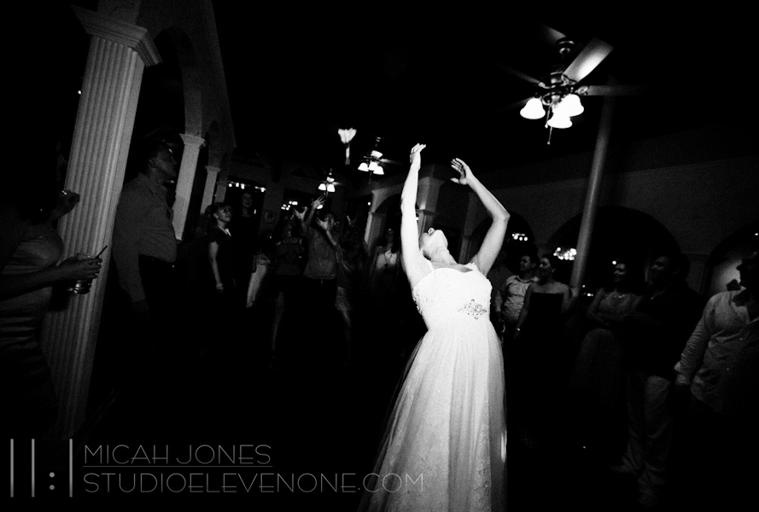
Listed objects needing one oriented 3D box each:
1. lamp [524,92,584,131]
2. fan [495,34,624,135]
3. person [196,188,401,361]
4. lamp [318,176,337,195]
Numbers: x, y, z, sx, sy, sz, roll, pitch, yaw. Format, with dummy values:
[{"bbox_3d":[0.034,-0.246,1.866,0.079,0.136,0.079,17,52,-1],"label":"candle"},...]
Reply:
[{"bbox_3d":[1.393,-1.207,4.309,0.496,0.176,0.259,2,28,22],"label":"lamp"},{"bbox_3d":[1.449,-1.450,4.397,0.898,0.663,0.962,-27,32,-13],"label":"fan"},{"bbox_3d":[-0.664,0.107,4.005,2.360,0.741,0.653,-6,17,-14],"label":"person"},{"bbox_3d":[-0.363,-0.500,3.733,0.110,0.115,0.116,3,13,-6],"label":"lamp"}]
